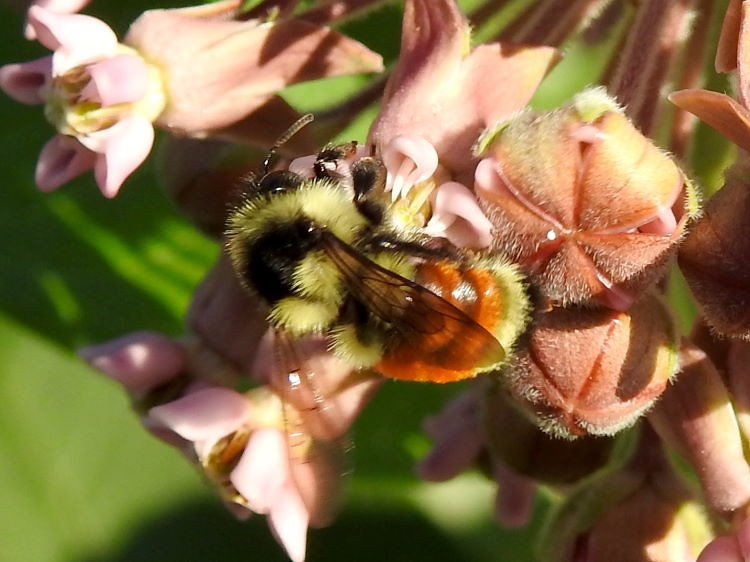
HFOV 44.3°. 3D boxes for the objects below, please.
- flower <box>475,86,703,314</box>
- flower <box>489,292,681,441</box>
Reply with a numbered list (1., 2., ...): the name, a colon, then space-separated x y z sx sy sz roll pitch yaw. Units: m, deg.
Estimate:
1. flower: 0.239 -0.083 1.099 0.163 0.262 0.236 -41 -2 14
2. flower: 0.263 0.070 1.177 0.217 0.148 0.248 -12 20 14
